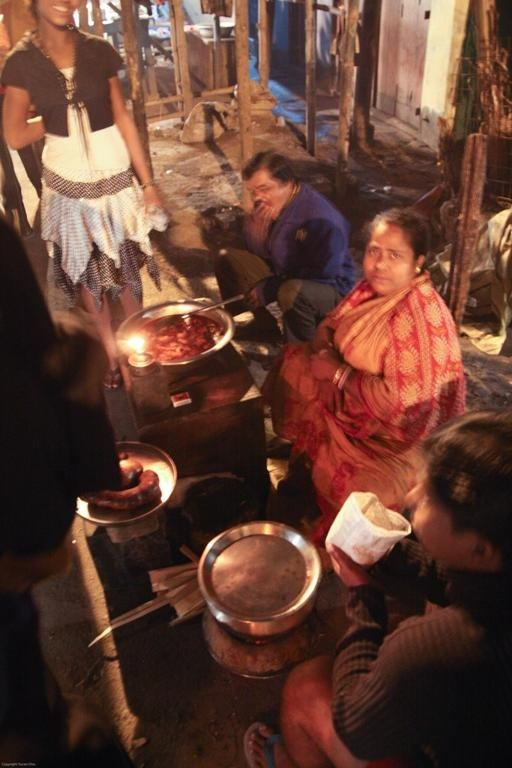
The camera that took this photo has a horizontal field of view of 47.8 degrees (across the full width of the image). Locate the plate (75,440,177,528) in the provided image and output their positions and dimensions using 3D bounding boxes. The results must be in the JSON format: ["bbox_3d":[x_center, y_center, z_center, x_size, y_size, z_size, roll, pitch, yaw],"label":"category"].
[{"bbox_3d":[-0.568,0.508,2.670,0.432,0.095,0.413,-27,47,-27],"label":"plate"}]
